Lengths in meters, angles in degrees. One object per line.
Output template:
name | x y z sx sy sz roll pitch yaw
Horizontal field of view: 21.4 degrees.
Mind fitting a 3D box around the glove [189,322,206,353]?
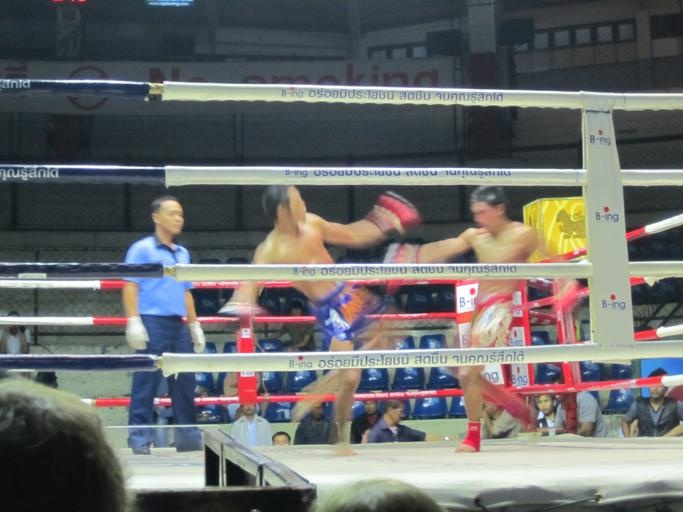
glove | -1.720 0.973 21.977 0.138 0.328 0.264 -10 -2 -8

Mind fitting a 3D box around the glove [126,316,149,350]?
glove | -2.419 0.916 21.716 0.309 0.364 0.131 -3 3 0

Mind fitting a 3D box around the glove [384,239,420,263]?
glove | 0.741 -0.042 21.065 0.399 0.230 0.280 -2 -4 5

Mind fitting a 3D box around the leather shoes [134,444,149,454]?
leather shoes | -2.351 2.295 21.549 0.164 0.098 0.089 -3 -4 -3

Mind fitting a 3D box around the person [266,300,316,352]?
person | -0.596 1.050 25.539 0.829 0.825 0.659 -5 -17 14

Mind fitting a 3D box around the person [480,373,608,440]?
person | 2.663 1.952 22.969 1.143 0.415 1.035 0 -15 -1
